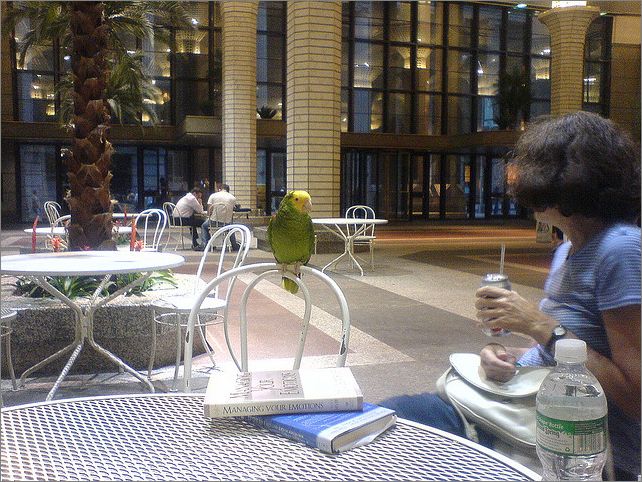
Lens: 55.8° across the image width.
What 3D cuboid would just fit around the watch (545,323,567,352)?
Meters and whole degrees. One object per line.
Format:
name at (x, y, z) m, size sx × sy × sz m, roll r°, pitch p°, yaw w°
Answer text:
watch at (0.694, 0.290, 1.800) m, size 0.065 × 0.038 × 0.061 m, roll -23°, pitch -23°, yaw -39°

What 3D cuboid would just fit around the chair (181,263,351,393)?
chair at (-0.174, 0.342, 2.377) m, size 0.557 × 0.535 × 0.439 m, roll -1°, pitch 10°, yaw 2°

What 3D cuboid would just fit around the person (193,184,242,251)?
person at (-1.960, -0.453, 11.644) m, size 0.749 × 1.283 × 0.796 m, roll 2°, pitch -1°, yaw -4°

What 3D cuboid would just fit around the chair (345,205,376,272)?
chair at (0.624, -0.042, 9.605) m, size 0.461 × 1.009 × 0.484 m, roll -2°, pitch 1°, yaw -5°

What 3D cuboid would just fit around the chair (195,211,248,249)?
chair at (-1.981, -0.366, 11.532) m, size 0.641 × 1.421 × 0.728 m, roll 0°, pitch 0°, yaw -5°

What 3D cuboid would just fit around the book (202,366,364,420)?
book at (-0.115, 0.418, 1.669) m, size 0.414 × 0.052 × 0.287 m, roll -1°, pitch 4°, yaw -8°

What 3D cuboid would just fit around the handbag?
handbag at (0.604, 0.509, 2.097) m, size 0.418 × 0.137 × 0.328 m, roll 14°, pitch 28°, yaw 13°
